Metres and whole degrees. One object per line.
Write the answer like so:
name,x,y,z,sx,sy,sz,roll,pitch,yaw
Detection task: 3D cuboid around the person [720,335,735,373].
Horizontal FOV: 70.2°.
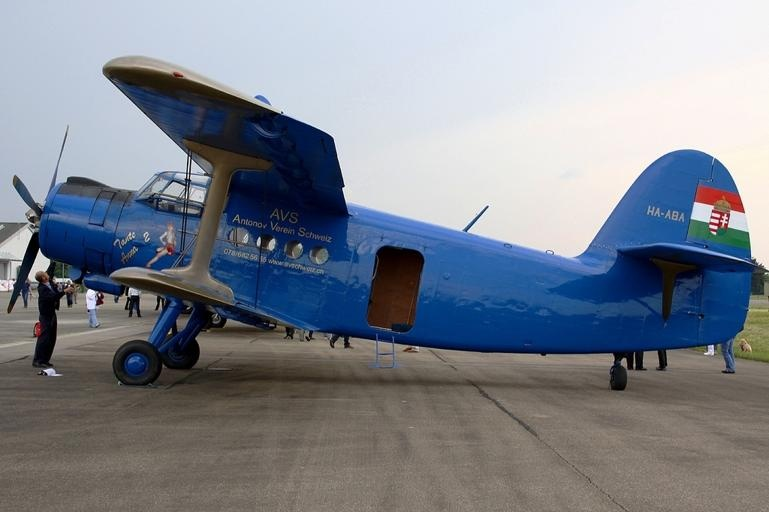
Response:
person,8.994,2.504,14.372,0.343,1.224,0.357,-13,-32,44

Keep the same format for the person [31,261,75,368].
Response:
person,-6.872,1.310,11.456,1.017,1.906,0.824,-4,-3,6

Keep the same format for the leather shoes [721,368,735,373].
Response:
leather shoes,8.996,3.019,14.363,0.348,0.132,0.113,2,-6,17

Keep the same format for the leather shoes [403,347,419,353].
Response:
leather shoes,0.797,2.984,17.408,0.558,0.220,0.181,-1,-12,27

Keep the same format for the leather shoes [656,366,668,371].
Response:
leather shoes,7.550,3.073,14.953,0.325,0.130,0.135,2,0,28
